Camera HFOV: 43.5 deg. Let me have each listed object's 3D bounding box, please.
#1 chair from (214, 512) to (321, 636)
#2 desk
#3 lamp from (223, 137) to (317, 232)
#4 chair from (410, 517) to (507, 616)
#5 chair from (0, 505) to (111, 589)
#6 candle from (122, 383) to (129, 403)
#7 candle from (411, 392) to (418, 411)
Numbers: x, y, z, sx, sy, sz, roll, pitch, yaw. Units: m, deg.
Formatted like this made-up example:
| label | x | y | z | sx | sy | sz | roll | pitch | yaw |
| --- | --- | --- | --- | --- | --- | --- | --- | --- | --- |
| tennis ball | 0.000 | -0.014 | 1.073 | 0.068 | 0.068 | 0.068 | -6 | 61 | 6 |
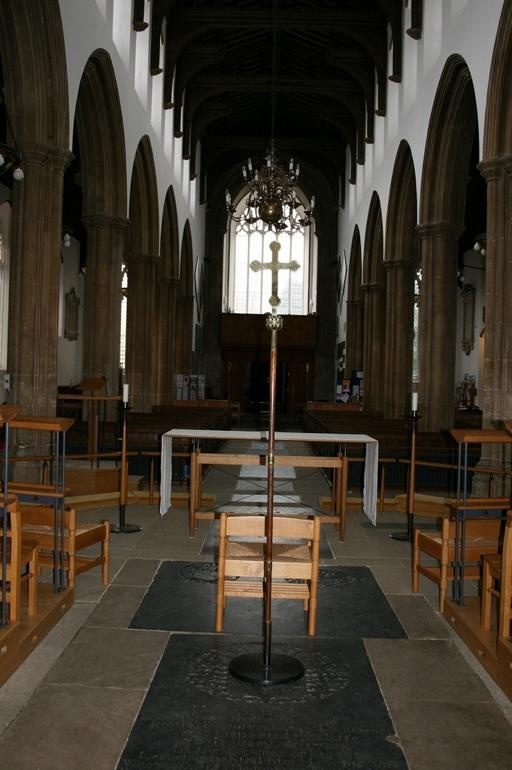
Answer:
| label | x | y | z | sx | sy | sz | roll | pitch | yaw |
| --- | --- | --- | --- | --- | --- | --- | --- | --- | --- |
| chair | 0.054 | 0.953 | 3.244 | 0.407 | 0.591 | 0.347 | 8 | -12 | -41 |
| desk | 0.106 | 0.947 | 6.077 | 1.476 | 0.894 | 0.497 | 1 | -7 | 0 |
| lamp | 0.259 | -3.755 | 11.857 | 1.226 | 1.799 | 1.352 | 2 | 4 | 1 |
| chair | 1.251 | 1.056 | 3.916 | 0.476 | 0.518 | 0.380 | 3 | 0 | -21 |
| chair | -1.189 | 0.936 | 3.834 | 0.490 | 0.556 | 0.392 | 1 | 2 | 23 |
| candle | -1.235 | 0.085 | 6.022 | 0.041 | 0.187 | 0.255 | 2 | -2 | -17 |
| candle | 1.390 | 0.156 | 5.616 | 0.034 | 0.178 | 0.091 | 2 | -2 | -4 |
